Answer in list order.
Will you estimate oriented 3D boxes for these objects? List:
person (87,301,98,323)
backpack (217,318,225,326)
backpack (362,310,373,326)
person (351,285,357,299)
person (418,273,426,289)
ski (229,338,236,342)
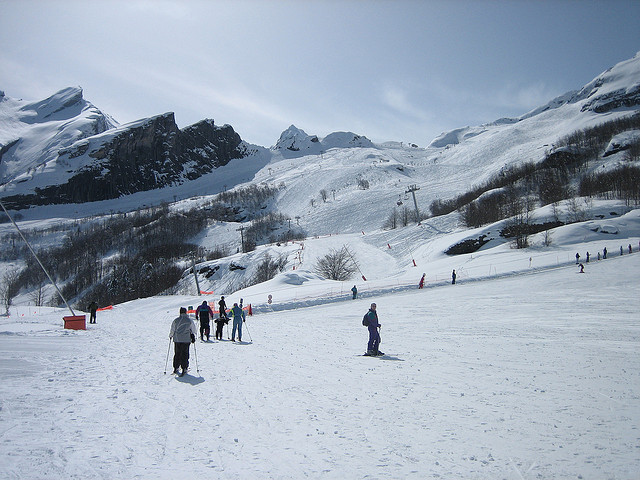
[{"bbox_3d":[-17.794,5.724,44.852,0.610,1.261,1.424,-6,4,-21],"label":"person"},{"bbox_3d":[-6.283,5.274,36.215,0.402,0.599,0.794,-5,4,-15],"label":"backpack"},{"bbox_3d":[2.544,4.339,31.030,0.449,0.815,0.689,-4,3,5],"label":"backpack"},{"bbox_3d":[3.112,4.816,51.851,0.399,1.142,1.057,-5,3,-1],"label":"person"},{"bbox_3d":[9.990,4.124,56.162,0.528,0.443,1.230,-9,-44,-11],"label":"person"},{"bbox_3d":[-5.501,6.349,35.701,0.207,0.045,1.117,-6,4,-27],"label":"ski"}]
